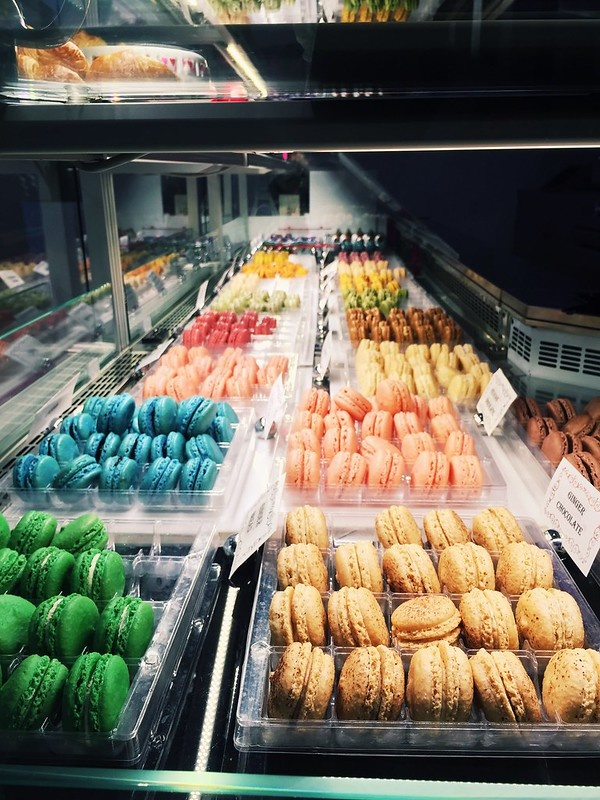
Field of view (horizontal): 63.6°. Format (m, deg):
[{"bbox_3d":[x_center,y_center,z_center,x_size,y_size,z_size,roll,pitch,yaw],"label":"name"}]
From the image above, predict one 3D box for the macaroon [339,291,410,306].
[{"bbox_3d":[0.523,-0.746,3.585,0.272,0.093,0.270,0,12,0],"label":"macaroon"}]
